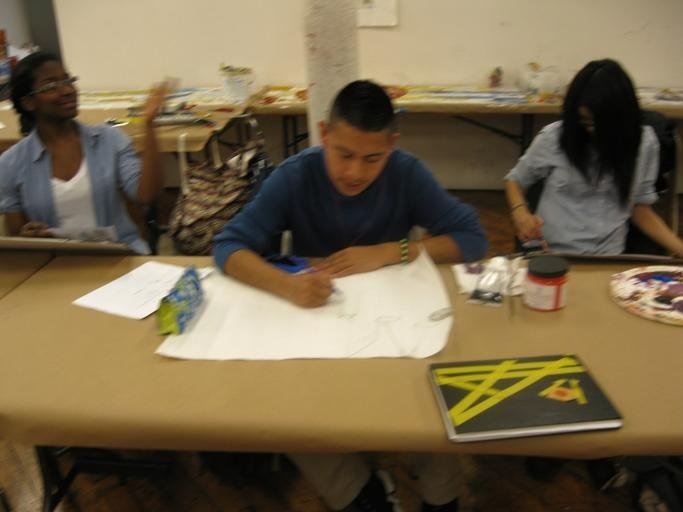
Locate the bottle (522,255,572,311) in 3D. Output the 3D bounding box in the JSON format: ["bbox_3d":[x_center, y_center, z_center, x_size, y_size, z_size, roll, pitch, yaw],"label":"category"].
[{"bbox_3d":[0.538,0.072,1.545,0.142,0.143,0.134,2,27,11],"label":"bottle"}]

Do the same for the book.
[{"bbox_3d":[0.404,0.290,1.220,0.275,0.034,0.182,-1,30,-1],"label":"book"}]
